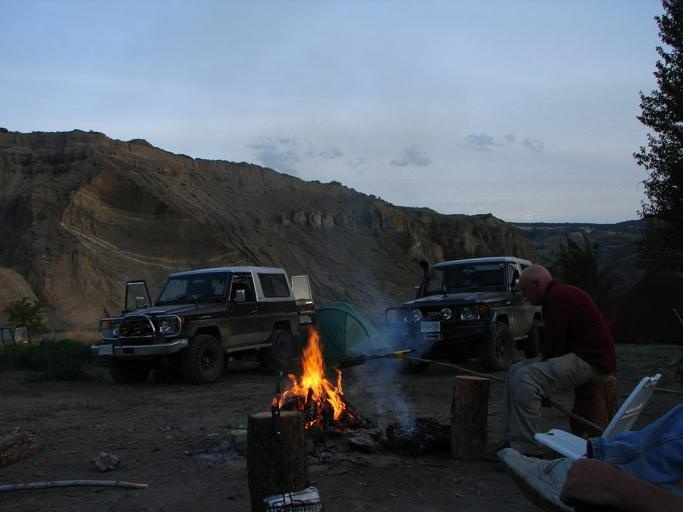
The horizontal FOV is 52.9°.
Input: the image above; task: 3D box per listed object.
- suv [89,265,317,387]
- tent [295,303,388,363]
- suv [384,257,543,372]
[{"bbox_3d":[-2.808,1.470,14.831,2.191,2.066,4.497,-6,-9,28],"label":"suv"},{"bbox_3d":[0.071,1.851,16.214,1.446,0.813,1.575,-3,-2,-41],"label":"tent"},{"bbox_3d":[2.935,1.216,14.937,1.931,1.878,3.652,-4,-7,29],"label":"suv"}]
